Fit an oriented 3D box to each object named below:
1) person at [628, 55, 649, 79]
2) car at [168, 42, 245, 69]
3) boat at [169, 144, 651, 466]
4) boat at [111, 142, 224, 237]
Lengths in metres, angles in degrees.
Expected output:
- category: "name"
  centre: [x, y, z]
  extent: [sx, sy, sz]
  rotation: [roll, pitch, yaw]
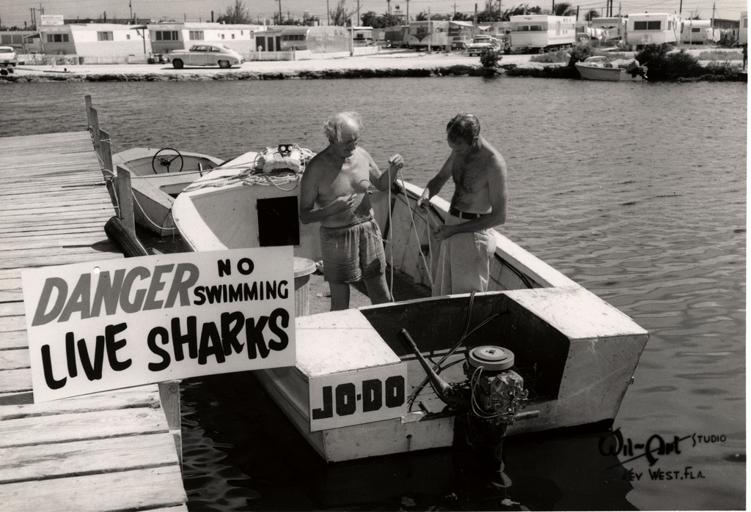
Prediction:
- category: "person"
  centre: [10.991, -7.739, 41.329]
  extent: [0.510, 0.803, 0.891]
  rotation: [-18, 23, -40]
- category: "car"
  centre: [-8.146, -9.700, 48.043]
  extent: [3.279, 1.140, 1.454]
  rotation: [0, 28, -6]
- category: "boat"
  centre: [0.080, 0.371, 10.834]
  extent: [2.815, 1.008, 4.830]
  rotation: [-12, 32, -24]
- category: "boat"
  centre: [-3.314, -1.200, 15.138]
  extent: [1.174, 0.540, 2.433]
  rotation: [-6, 26, -28]
